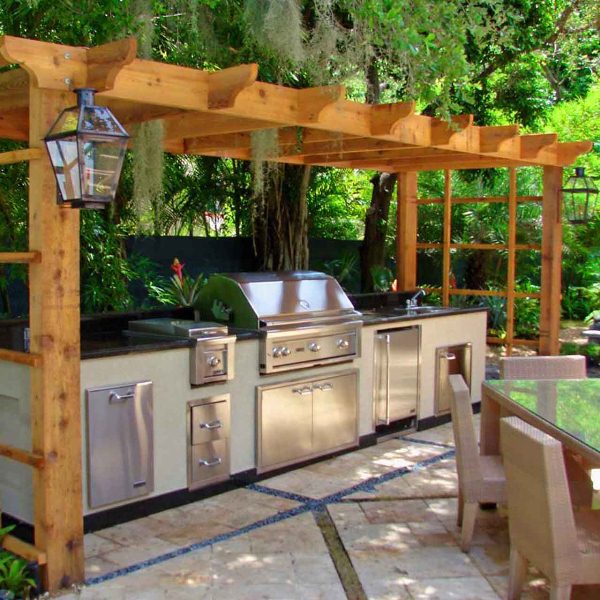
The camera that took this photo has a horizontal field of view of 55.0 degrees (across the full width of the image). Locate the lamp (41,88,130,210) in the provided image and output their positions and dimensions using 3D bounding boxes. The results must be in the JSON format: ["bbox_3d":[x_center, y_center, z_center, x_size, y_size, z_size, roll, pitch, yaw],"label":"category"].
[{"bbox_3d":[-0.875,-0.570,2.305,0.325,0.416,0.180,0,1,17],"label":"lamp"}]
